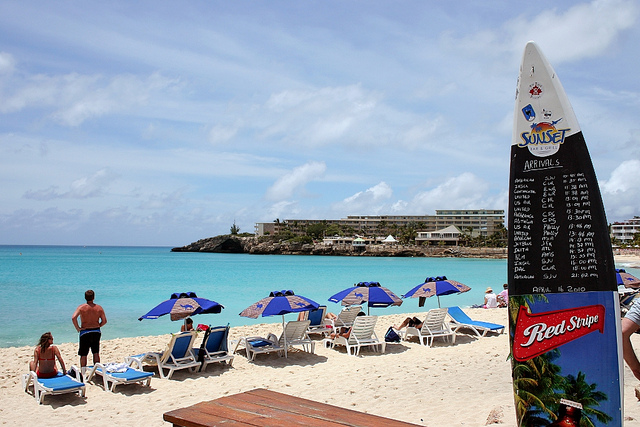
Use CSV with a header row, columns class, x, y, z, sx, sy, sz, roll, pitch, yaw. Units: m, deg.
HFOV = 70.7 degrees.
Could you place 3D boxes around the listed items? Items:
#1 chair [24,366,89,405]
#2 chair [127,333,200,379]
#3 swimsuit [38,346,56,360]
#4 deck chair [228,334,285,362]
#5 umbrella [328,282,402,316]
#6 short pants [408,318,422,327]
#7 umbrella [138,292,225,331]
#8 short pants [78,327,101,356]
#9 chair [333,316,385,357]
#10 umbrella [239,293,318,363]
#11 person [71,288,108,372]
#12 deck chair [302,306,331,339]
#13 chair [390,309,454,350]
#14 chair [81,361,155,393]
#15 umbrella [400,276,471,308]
class,x,y,z,sx,sy,sz,roll,pitch,yaw
chair,-5.525,3.471,9.376,1.590,0.452,0.868,0,-5,42
chair,-3.851,3.403,10.928,1.814,0.912,0.962,-8,-11,27
swimsuit,-5.531,2.807,9.124,0.355,0.335,0.020,3,-7,-42
deck chair,-1.714,3.620,12.444,0.968,0.479,1.659,1,-3,-28
umbrella,1.507,2.475,14.074,1.468,0.892,1.335,0,-8,5
short pants,2.937,3.377,13.953,0.088,0.249,0.253,47,-18,-18
umbrella,-3.451,2.271,11.177,1.198,0.786,1.257,-1,-1,35
short pants,-5.264,2.922,10.323,0.403,0.640,0.250,2,-6,-27
chair,1.093,3.393,12.735,1.007,0.798,1.352,5,-6,-23
umbrella,-0.945,2.843,11.981,1.732,1.467,1.892,-8,-4,31
person,-5.369,2.720,10.552,0.702,1.864,1.587,2,-6,-27
deck chair,-0.246,3.533,14.911,0.862,1.050,1.053,-2,6,-19
chair,3.391,3.388,13.763,1.435,0.956,1.473,2,-5,-26
chair,-4.424,3.504,9.761,0.687,0.356,1.376,6,-7,-44
umbrella,3.768,2.383,14.477,1.669,0.670,2.364,-3,-5,25
